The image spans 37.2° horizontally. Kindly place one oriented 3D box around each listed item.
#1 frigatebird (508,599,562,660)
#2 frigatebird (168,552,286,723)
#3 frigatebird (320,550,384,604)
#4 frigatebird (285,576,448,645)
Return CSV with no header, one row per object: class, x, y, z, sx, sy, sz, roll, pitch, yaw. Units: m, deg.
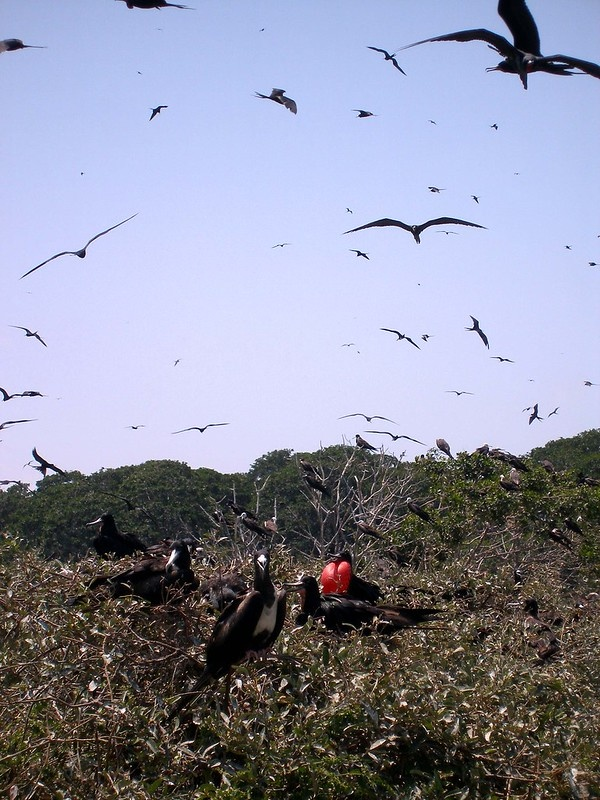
frigatebird,1.384,1.416,5.514,0.272,0.321,0.358,-6,-9,9
frigatebird,-0.370,1.175,4.569,0.943,0.545,0.341,-31,-26,32
frigatebird,0.368,1.272,6.596,0.415,0.378,0.276,-7,15,-38
frigatebird,0.366,1.296,5.429,0.951,0.524,0.293,0,8,-6
